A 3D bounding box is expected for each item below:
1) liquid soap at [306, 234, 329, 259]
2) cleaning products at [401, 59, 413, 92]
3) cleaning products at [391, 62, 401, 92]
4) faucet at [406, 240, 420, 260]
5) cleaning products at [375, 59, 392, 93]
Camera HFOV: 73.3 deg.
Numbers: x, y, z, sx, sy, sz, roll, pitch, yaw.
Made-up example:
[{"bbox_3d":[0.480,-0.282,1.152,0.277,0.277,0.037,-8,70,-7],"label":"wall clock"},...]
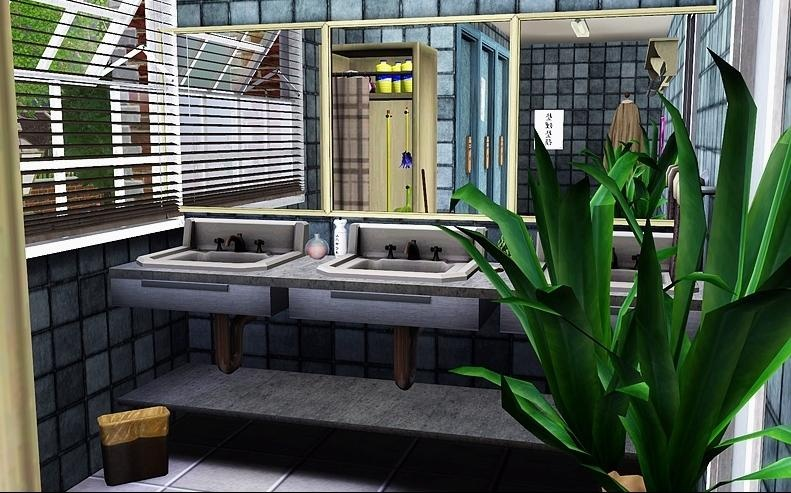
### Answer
[{"bbox_3d":[-0.456,0.008,3.319,0.159,0.156,0.143,0,1,2],"label":"liquid soap"},{"bbox_3d":[0.070,-1.017,3.212,0.064,0.190,0.040,0,12,-8],"label":"cleaning products"},{"bbox_3d":[0.010,-1.013,3.221,0.056,0.178,0.040,0,12,-4],"label":"cleaning products"},{"bbox_3d":[0.105,0.034,3.190,0.099,0.128,0.106,1,2,14],"label":"faucet"},{"bbox_3d":[-0.077,-1.034,3.267,0.118,0.186,0.109,2,21,5],"label":"cleaning products"}]
